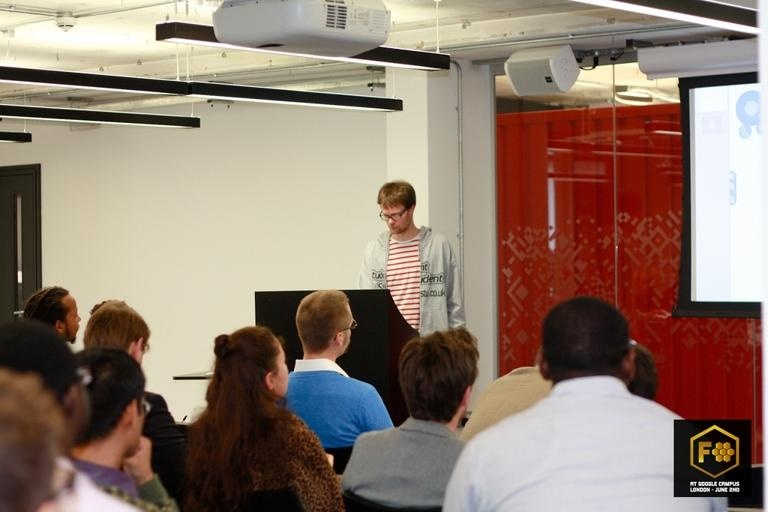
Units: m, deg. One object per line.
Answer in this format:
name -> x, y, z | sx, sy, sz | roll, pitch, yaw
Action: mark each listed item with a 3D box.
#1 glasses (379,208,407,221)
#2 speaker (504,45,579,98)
glasses -> 0.064, -0.320, 5.561 | 0.233, 0.085, 0.096 | -1, 1, 36
speaker -> 1.405, -1.653, 6.244 | 0.635, 0.402, 0.363 | -2, 1, 9
